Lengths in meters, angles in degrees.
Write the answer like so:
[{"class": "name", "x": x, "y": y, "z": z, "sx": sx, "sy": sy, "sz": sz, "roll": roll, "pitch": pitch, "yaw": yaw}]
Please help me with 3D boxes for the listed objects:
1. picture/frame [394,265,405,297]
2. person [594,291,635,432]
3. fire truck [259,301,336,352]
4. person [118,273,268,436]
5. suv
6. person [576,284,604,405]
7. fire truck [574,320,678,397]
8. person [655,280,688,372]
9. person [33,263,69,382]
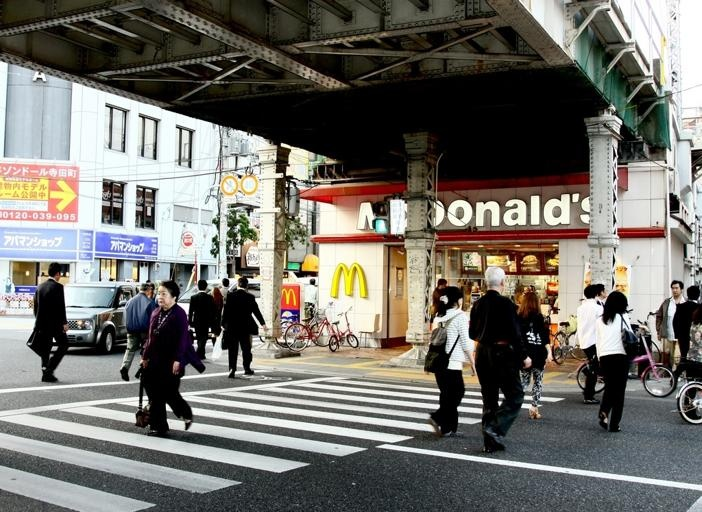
[{"class": "picture/frame", "x": 1.820, "y": 0.952, "z": 26.292, "sx": 0.146, "sy": 1.105, "sz": 0.795, "roll": 1, "pitch": -1, "yaw": 19}, {"class": "person", "x": 4.575, "y": 1.783, "z": 12.368, "sx": 0.752, "sy": 2.232, "sz": 0.650, "roll": 3, "pitch": 2, "yaw": 19}, {"class": "fire truck", "x": -1.684, "y": 2.361, "z": 24.504, "sx": 1.626, "sy": 1.476, "sz": 1.509, "roll": 0, "pitch": 3, "yaw": -42}, {"class": "person", "x": -2.858, "y": 1.566, "z": 11.135, "sx": 0.954, "sy": 2.398, "sz": 0.493, "roll": 1, "pitch": -1, "yaw": -10}, {"class": "suv", "x": -7.515, "y": 1.781, "z": 21.296, "sx": 1.878, "sy": 2.020, "sz": 4.839, "roll": 0, "pitch": 0, "yaw": 3}, {"class": "person", "x": 4.725, "y": 1.771, "z": 14.598, "sx": 0.779, "sy": 2.346, "sz": 0.918, "roll": 0, "pitch": 0, "yaw": 35}, {"class": "fire truck", "x": 6.834, "y": 2.546, "z": 16.636, "sx": 2.632, "sy": 1.813, "sz": 1.359, "roll": -7, "pitch": -17, "yaw": 32}, {"class": "person", "x": 7.799, "y": 1.750, "z": 17.328, "sx": 0.737, "sy": 2.345, "sz": 0.935, "roll": 5, "pitch": 4, "yaw": 35}, {"class": "person", "x": -6.625, "y": 1.446, "z": 15.809, "sx": 0.802, "sy": 2.566, "sz": 0.624, "roll": 4, "pitch": 3, "yaw": -5}]
